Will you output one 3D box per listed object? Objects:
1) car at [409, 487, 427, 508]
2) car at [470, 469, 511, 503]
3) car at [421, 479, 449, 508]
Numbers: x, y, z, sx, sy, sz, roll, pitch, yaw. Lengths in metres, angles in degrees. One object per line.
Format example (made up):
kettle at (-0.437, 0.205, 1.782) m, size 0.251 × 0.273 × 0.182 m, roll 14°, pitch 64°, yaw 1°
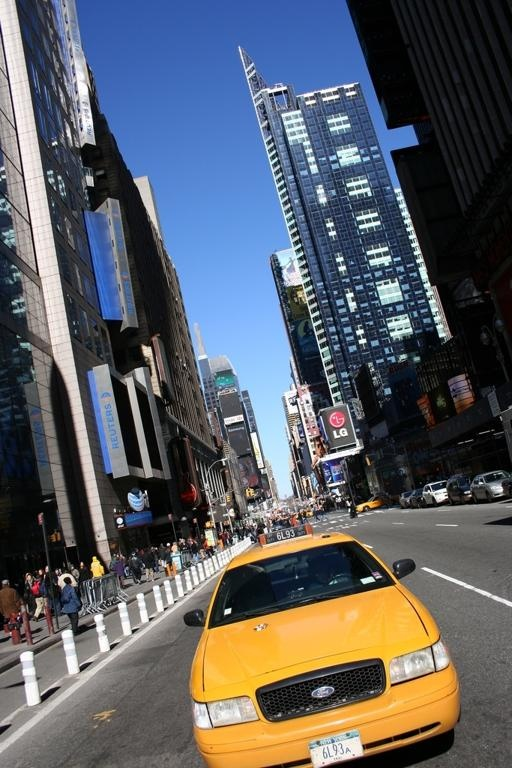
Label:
car at (14.349, 10.242, 49.952) m, size 0.987 × 0.898 × 2.508 m, roll -1°, pitch -25°, yaw 0°
car at (13.050, 5.758, 31.272) m, size 1.158 × 1.102 × 2.327 m, roll -9°, pitch -20°, yaw -6°
car at (14.351, 8.776, 44.586) m, size 1.347 × 1.226 × 2.410 m, roll -3°, pitch -17°, yaw -9°
